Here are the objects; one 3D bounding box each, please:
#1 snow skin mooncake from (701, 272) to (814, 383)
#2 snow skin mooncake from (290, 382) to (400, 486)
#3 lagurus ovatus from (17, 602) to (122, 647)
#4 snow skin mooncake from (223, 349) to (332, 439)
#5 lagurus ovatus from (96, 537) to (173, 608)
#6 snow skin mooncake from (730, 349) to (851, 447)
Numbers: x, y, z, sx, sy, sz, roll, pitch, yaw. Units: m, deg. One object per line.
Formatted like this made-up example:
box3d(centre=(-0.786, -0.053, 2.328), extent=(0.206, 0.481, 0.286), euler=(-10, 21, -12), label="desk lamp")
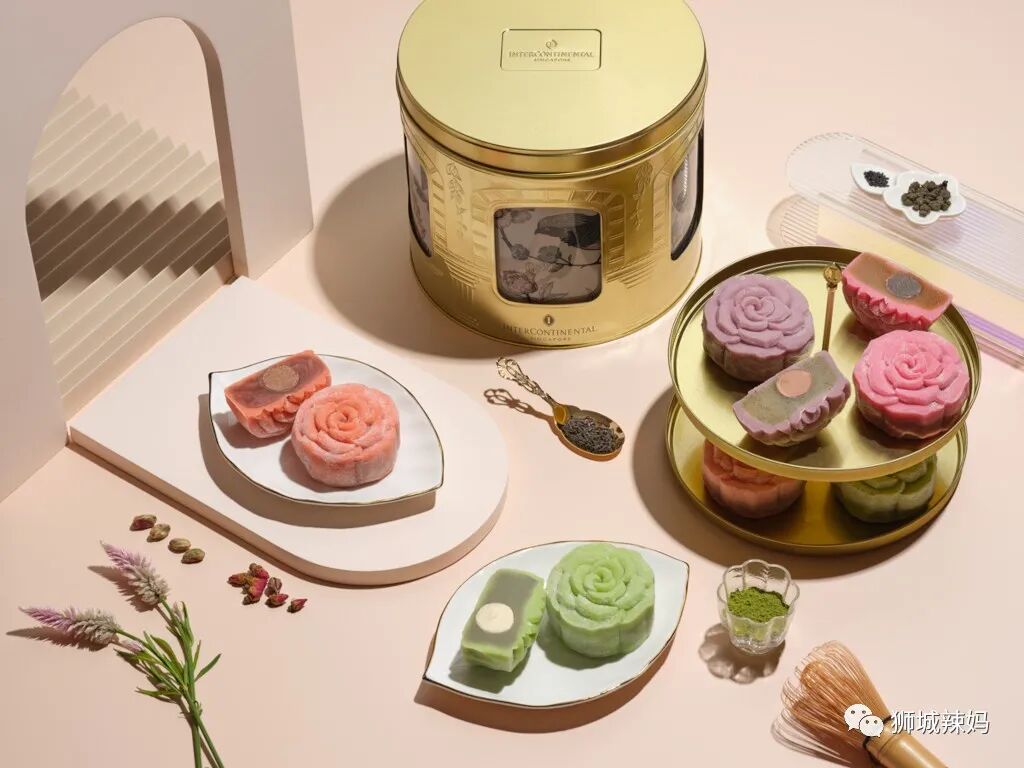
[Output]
box3d(centre=(0.441, -0.104, 1.678), extent=(0.186, 0.215, 0.098), euler=(-4, -45, 5), label="snow skin mooncake")
box3d(centre=(-0.306, 0.088, 1.711), extent=(0.187, 0.180, 0.078), euler=(5, -20, 7), label="snow skin mooncake")
box3d(centre=(-0.752, 0.413, 1.592), extent=(0.193, 0.056, 0.120), euler=(10, -23, -2), label="lagurus ovatus")
box3d(centre=(-0.449, 0.040, 1.800), extent=(0.138, 0.200, 0.117), euler=(31, -49, 33), label="snow skin mooncake")
box3d(centre=(-0.676, 0.345, 1.667), extent=(0.160, 0.073, 0.062), euler=(47, -7, -12), label="lagurus ovatus")
box3d(centre=(0.486, 0.047, 1.582), extent=(0.135, 0.218, 0.102), euler=(37, -24, 49), label="snow skin mooncake")
